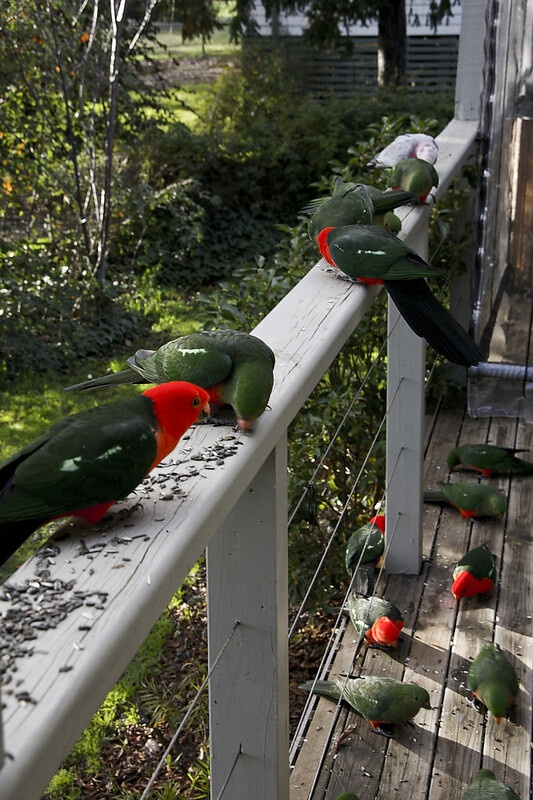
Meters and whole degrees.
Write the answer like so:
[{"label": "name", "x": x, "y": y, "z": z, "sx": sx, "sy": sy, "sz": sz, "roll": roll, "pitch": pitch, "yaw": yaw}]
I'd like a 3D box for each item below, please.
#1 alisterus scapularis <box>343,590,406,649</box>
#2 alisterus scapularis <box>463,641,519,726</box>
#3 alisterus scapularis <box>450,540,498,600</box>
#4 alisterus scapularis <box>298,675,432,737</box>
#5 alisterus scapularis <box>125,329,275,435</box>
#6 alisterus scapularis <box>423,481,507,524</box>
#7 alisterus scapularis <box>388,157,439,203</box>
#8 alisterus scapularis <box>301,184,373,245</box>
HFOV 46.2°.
[{"label": "alisterus scapularis", "x": 0.296, "y": 0.590, "z": 1.719, "sx": 0.128, "sy": 0.124, "sz": 0.227, "roll": -6, "pitch": 20, "yaw": 2}, {"label": "alisterus scapularis", "x": 0.535, "y": 0.674, "z": 1.501, "sx": 0.096, "sy": 0.168, "sz": 0.110, "roll": 2, "pitch": 1, "yaw": 16}, {"label": "alisterus scapularis", "x": 0.603, "y": 0.513, "z": 1.821, "sx": 0.126, "sy": 0.151, "sz": 0.161, "roll": -1, "pitch": 21, "yaw": 16}, {"label": "alisterus scapularis", "x": 0.241, "y": 0.716, "z": 1.504, "sx": 0.311, "sy": 0.133, "sz": 0.108, "roll": 3, "pitch": 5, "yaw": 38}, {"label": "alisterus scapularis", "x": -0.077, "y": -0.021, "z": 0.718, "sx": 0.083, "sy": 0.074, "sz": 0.177, "roll": 2, "pitch": 27, "yaw": -42}, {"label": "alisterus scapularis", "x": 0.687, "y": 0.365, "z": 2.173, "sx": 0.082, "sy": 0.107, "sz": 0.255, "roll": -20, "pitch": 36, "yaw": -41}, {"label": "alisterus scapularis", "x": 0.406, "y": -0.605, "z": 1.724, "sx": 0.103, "sy": 0.097, "sz": 0.230, "roll": -3, "pitch": 10, "yaw": 10}, {"label": "alisterus scapularis", "x": 0.162, "y": -0.420, "z": 1.447, "sx": 0.093, "sy": 0.200, "sz": 0.131, "roll": -4, "pitch": -25, "yaw": 29}]
